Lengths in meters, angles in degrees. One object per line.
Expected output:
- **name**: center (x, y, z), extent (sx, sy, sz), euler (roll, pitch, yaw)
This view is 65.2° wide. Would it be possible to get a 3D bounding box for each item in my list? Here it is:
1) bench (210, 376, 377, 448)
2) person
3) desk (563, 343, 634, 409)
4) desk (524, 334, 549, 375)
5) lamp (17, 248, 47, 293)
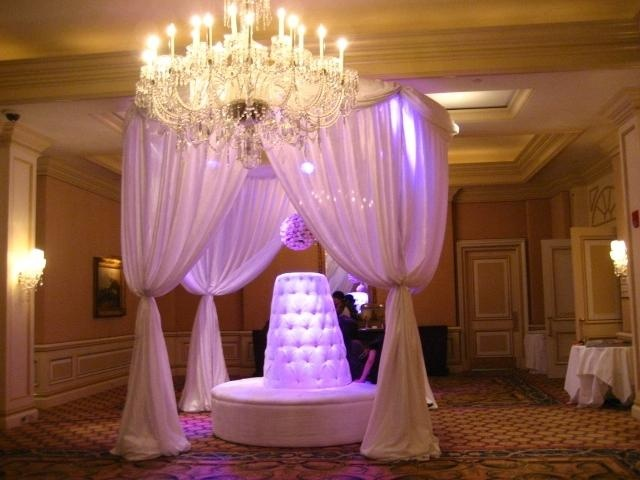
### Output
- **bench**: center (-0.306, 1.862, 5.261), extent (1.713, 0.539, 0.549), euler (-4, -7, 20)
- **person**: center (0.423, 1.093, 6.563), extent (0.739, 1.012, 1.372), euler (-3, -8, 13)
- **desk**: center (3.778, 1.931, 7.027), extent (0.758, 0.770, 0.819), euler (4, -19, -1)
- **desk**: center (4.257, 2.247, 9.975), extent (0.432, 0.730, 0.458), euler (6, -6, -10)
- **lamp**: center (-3.967, 0.417, 6.866), extent (0.238, 0.490, 0.229), euler (6, -28, -41)
